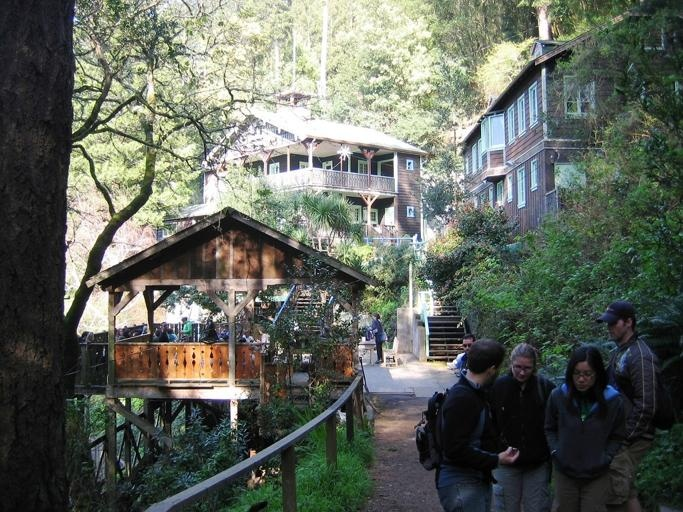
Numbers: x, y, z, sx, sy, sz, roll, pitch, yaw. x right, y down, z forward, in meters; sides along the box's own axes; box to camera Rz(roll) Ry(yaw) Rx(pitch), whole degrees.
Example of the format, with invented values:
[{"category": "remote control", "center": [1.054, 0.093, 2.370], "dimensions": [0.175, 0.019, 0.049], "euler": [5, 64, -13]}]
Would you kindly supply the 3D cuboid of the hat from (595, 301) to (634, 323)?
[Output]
[{"category": "hat", "center": [2.903, 0.593, 7.061], "dimensions": [0.298, 0.199, 0.217], "euler": [2, -4, -6]}]
